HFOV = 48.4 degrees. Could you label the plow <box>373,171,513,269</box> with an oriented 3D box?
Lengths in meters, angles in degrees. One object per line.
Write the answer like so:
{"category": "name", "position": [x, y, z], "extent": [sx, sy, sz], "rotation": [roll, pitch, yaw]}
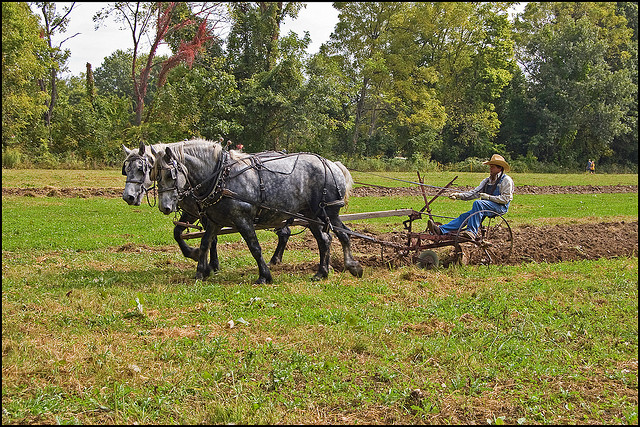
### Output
{"category": "plow", "position": [4.632, 0.499, 28.146], "extent": [5.397, 2.864, 3.629], "rotation": [-4, 7, -2]}
